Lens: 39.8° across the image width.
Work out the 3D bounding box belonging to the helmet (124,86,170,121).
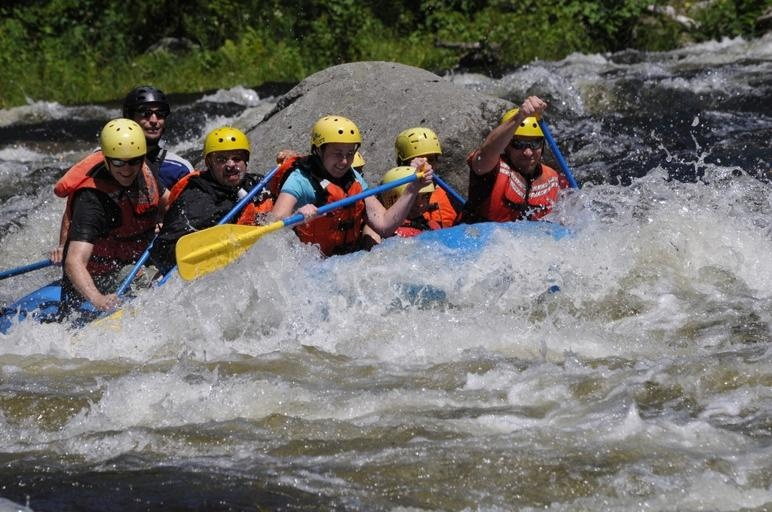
[{"bbox_3d":[-2.513,-1.695,11.405,0.352,0.436,0.394,6,62,-31],"label":"helmet"}]

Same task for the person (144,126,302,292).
[{"bbox_3d":[-1.630,-0.408,10.690,1.449,0.848,1.905,13,73,-24],"label":"person"}]

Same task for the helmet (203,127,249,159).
[{"bbox_3d":[-1.608,-1.119,10.828,0.434,0.344,0.298,0,37,-2],"label":"helmet"}]

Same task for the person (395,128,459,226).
[{"bbox_3d":[0.394,-0.976,11.371,0.625,0.830,0.848,-13,22,-26],"label":"person"}]

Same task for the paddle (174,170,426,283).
[{"bbox_3d":[-0.878,-0.263,10.471,2.847,0.310,0.475,-17,86,-12],"label":"paddle"}]

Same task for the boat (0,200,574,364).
[{"bbox_3d":[-0.792,0.285,10.225,3.619,0.387,0.729,-17,74,3],"label":"boat"}]

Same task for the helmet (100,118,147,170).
[{"bbox_3d":[-2.579,-1.148,10.488,0.352,0.371,0.477,-8,1,-24],"label":"helmet"}]

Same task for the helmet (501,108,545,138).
[{"bbox_3d":[1.401,-1.331,10.878,0.300,0.395,0.295,1,67,-4],"label":"helmet"}]
